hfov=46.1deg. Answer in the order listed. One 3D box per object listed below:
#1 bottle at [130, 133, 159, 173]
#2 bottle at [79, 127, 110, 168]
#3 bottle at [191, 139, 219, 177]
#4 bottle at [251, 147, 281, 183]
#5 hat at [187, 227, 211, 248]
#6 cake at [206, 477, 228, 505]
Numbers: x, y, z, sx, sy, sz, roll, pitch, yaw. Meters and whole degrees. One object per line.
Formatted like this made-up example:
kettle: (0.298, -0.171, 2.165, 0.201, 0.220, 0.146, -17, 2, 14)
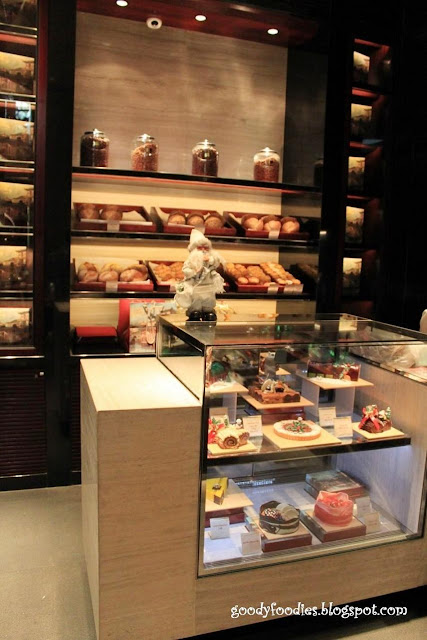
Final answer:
bottle: (-0.425, -1.031, 3.119, 0.158, 0.240, 0.134, -3, 5, -19)
bottle: (-0.705, -1.012, 2.984, 0.159, 0.241, 0.134, -3, 5, -15)
bottle: (-0.056, -1.048, 3.275, 0.167, 0.251, 0.198, -1, 5, -2)
bottle: (0.353, -1.078, 3.503, 0.236, 0.267, 0.237, -1, 6, -9)
hat: (-0.063, -0.318, 1.994, 0.089, 0.044, 0.121, -7, 55, -15)
cake: (0.015, 0.589, 1.750, 0.086, 0.022, 0.095, 21, 40, 21)
